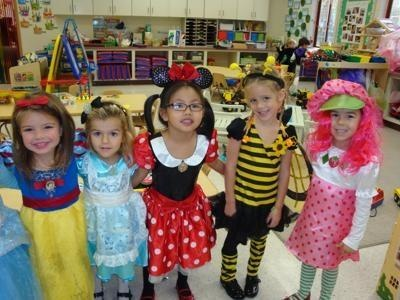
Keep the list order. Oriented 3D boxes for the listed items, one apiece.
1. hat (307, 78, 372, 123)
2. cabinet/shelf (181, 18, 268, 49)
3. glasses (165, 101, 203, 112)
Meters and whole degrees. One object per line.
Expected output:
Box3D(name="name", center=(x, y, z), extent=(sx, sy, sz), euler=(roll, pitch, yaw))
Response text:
Box3D(name="hat", center=(0.757, -0.250, 1.738), extent=(0.362, 0.240, 0.119), euler=(10, 21, 28))
Box3D(name="cabinet/shelf", center=(0.691, -3.009, 8.343), extent=(2.330, 0.715, 0.779), euler=(-8, 20, -20))
Box3D(name="glasses", center=(-0.080, -0.223, 1.681), extent=(0.185, 0.048, 0.046), euler=(-2, 19, -5))
